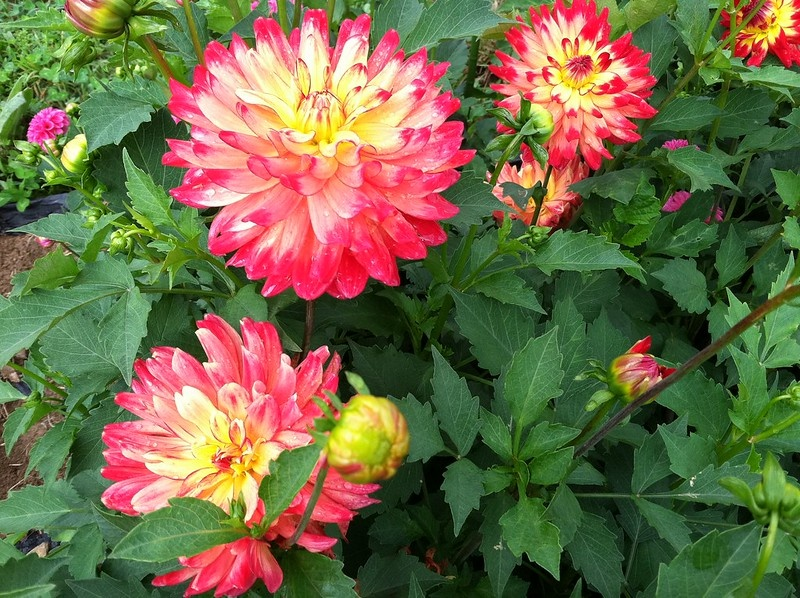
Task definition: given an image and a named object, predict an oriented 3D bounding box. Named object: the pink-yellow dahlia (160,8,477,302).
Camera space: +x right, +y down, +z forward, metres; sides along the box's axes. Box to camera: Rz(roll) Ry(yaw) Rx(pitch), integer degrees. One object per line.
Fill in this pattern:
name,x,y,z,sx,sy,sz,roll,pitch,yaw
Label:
pink-yellow dahlia,-0.172,-0.293,1.369,0.605,0.231,0.667,9,83,3
